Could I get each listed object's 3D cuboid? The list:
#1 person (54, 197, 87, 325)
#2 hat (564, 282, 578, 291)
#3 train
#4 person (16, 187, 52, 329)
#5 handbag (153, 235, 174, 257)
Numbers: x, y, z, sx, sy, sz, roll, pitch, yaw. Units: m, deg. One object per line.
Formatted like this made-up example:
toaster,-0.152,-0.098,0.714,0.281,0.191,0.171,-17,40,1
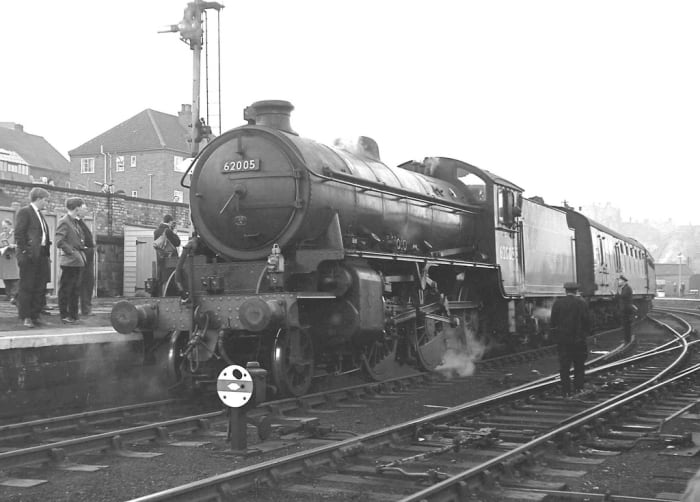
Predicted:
person,-5.120,0.135,11.383,0.493,2.319,0.820,1,-4,-25
hat,3.871,0.615,10.885,0.289,0.119,0.358,1,7,15
train,0.776,-0.033,11.893,2.334,4.581,9.554,-4,-5,40
person,-5.316,0.084,10.397,0.516,2.334,0.766,1,-4,-25
handbag,-3.834,-0.117,12.863,0.352,0.400,0.221,-27,2,19
